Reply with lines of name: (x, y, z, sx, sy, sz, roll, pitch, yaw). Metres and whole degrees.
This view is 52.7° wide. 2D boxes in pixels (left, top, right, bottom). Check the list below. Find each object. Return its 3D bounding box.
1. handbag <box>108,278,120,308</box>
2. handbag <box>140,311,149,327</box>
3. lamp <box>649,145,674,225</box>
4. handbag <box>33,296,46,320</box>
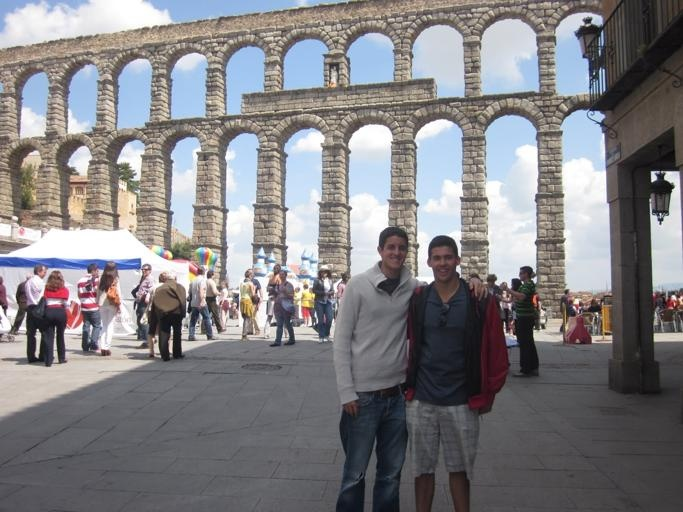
handbag: (-4.899, 0.841, 14.903, 0.212, 0.566, 0.310, 4, 8, 25)
handbag: (-4.845, 1.508, 16.879, 0.105, 0.354, 0.248, 8, -4, 26)
lamp: (5.463, -1.016, 11.762, 0.369, 0.927, 1.847, 4, 8, 25)
handbag: (-5.958, 1.029, 13.542, 0.200, 0.503, 0.586, -4, 9, -31)
